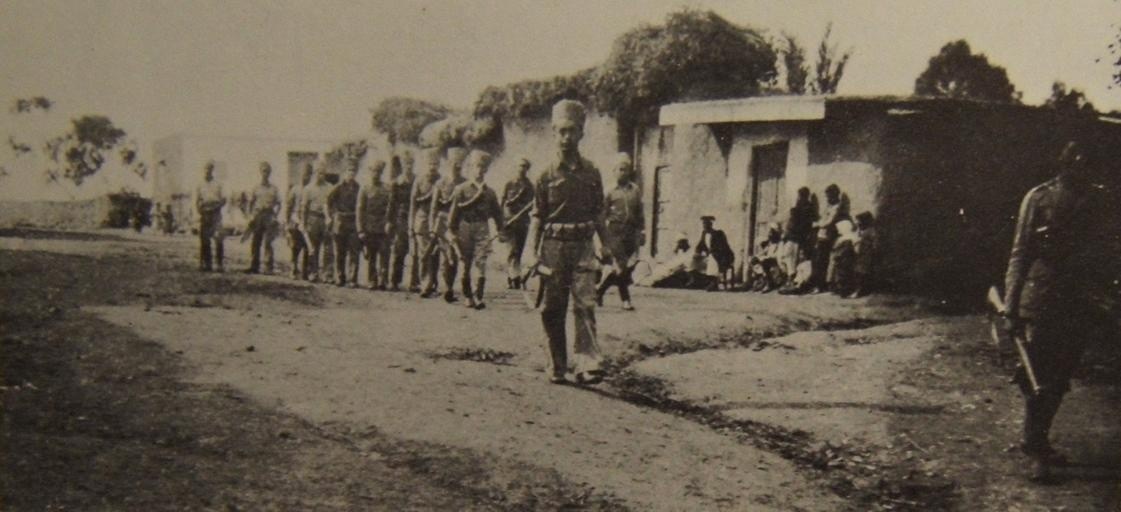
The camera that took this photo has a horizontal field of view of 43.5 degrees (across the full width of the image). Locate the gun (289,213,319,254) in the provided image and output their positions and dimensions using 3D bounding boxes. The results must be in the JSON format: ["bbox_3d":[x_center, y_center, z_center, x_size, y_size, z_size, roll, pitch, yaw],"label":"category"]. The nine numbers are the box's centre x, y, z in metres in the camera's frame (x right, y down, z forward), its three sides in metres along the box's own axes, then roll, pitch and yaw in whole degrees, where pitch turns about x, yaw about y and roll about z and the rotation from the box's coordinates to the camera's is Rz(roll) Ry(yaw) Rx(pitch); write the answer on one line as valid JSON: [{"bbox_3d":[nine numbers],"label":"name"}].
[{"bbox_3d":[-3.863,-0.362,21.160,0.520,0.580,0.156,2,37,3],"label":"gun"}]

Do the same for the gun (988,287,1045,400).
[{"bbox_3d":[5.899,1.108,18.071,0.319,1.585,0.433,-29,-1,-42],"label":"gun"}]
